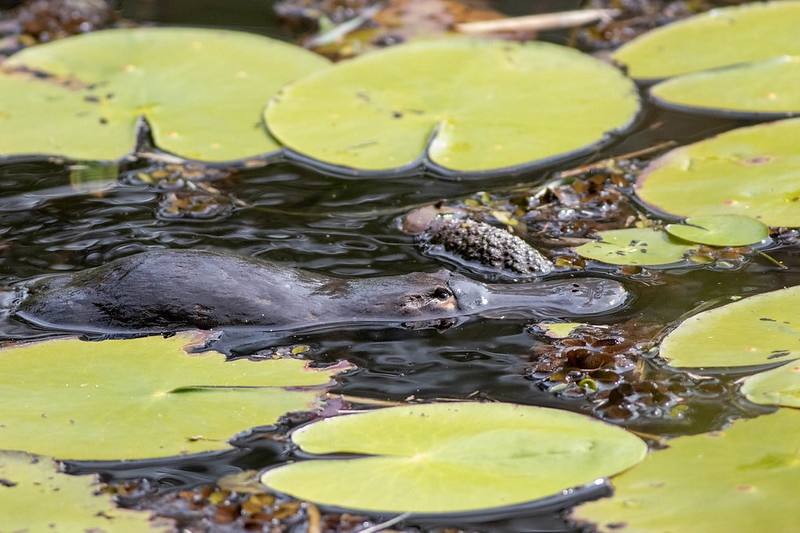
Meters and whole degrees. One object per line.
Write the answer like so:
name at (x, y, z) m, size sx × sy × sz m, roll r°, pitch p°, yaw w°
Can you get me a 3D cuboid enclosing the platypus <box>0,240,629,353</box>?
platypus at (-0.550, 0.160, 4.513) m, size 4.407 × 0.241 × 0.742 m, roll -1°, pitch 9°, yaw -1°
